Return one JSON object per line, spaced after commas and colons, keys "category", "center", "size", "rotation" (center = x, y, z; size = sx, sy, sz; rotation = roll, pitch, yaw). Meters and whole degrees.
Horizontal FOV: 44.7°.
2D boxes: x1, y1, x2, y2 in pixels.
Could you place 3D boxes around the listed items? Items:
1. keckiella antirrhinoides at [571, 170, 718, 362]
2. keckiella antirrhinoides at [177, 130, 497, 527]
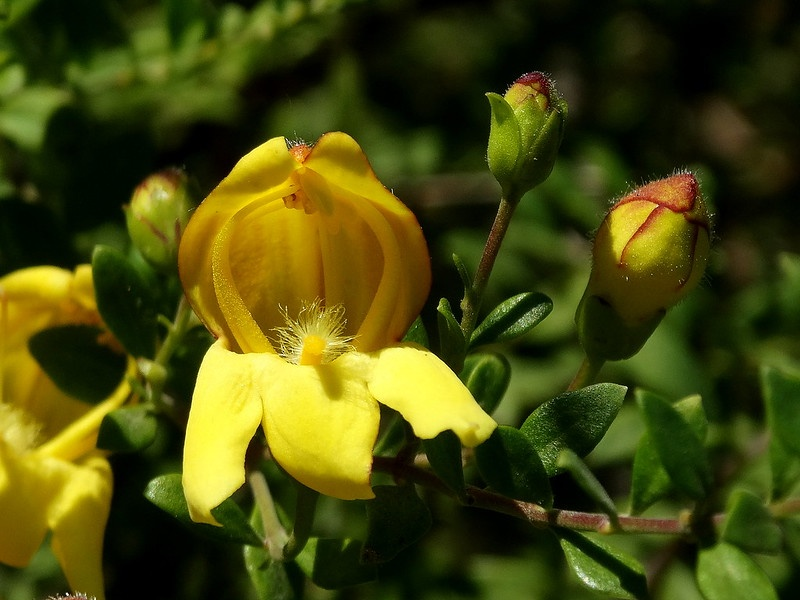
{"category": "keckiella antirrhinoides", "center": [0.341, -0.025, 1.407], "size": [0.160, 0.337, 0.173], "rotation": [15, 44, 4]}
{"category": "keckiella antirrhinoides", "center": [-0.104, 0.018, 1.186], "size": [0.371, 0.264, 0.584], "rotation": [-6, 32, -8]}
